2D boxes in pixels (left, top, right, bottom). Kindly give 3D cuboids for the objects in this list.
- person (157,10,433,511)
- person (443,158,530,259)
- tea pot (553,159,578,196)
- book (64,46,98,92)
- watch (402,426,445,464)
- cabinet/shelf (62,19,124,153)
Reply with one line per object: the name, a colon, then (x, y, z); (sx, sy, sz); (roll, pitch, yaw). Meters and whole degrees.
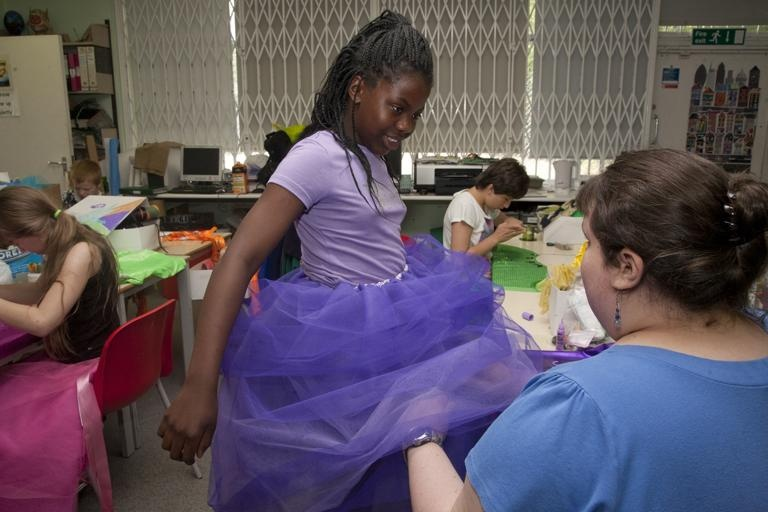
person: (-0.217, -0.117, 1.213); (0.692, 0.926, 0.270); (-11, 18, -40)
person: (0.676, -0.320, 3.501); (0.412, 0.851, 0.460); (17, 32, 18)
tea pot: (1.866, -0.803, 5.526); (0.312, 0.398, 0.358); (-1, 1, 11)
book: (-3.176, -1.951, 5.460); (0.315, 0.444, 0.075); (4, 14, 11)
watch: (0.076, 0.376, 1.071); (0.050, 0.032, 0.082); (-3, 19, 41)
cabinet/shelf: (-3.240, -1.697, 5.722); (0.695, 1.221, 0.416); (13, 18, 22)
